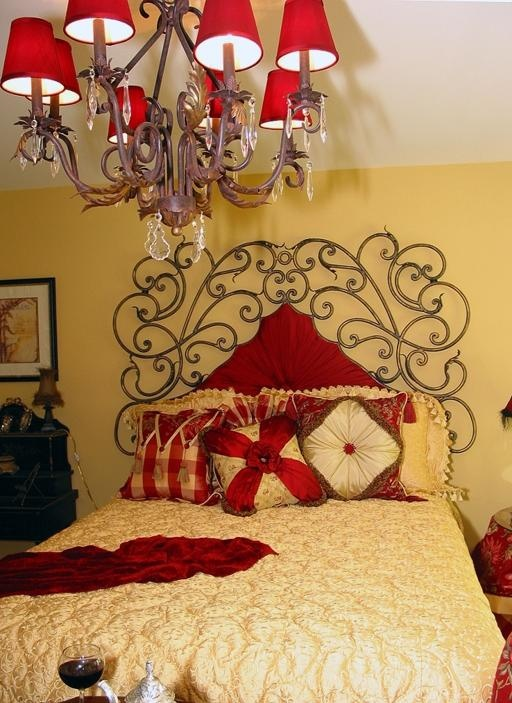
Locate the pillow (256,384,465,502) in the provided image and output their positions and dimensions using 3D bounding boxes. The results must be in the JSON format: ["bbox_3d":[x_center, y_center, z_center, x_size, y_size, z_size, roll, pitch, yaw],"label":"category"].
[{"bbox_3d":[0.746,0.435,3.170,0.731,0.648,0.226,3,-13,-9],"label":"pillow"}]

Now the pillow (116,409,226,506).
[{"bbox_3d":[-0.375,0.473,2.842,0.469,0.424,0.174,-2,-19,26],"label":"pillow"}]
